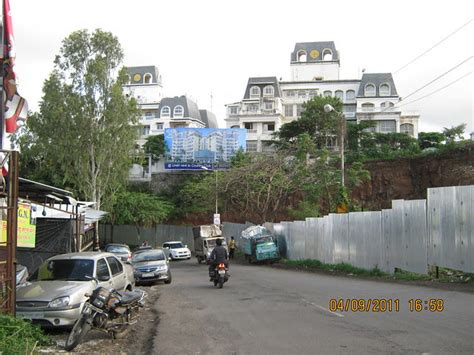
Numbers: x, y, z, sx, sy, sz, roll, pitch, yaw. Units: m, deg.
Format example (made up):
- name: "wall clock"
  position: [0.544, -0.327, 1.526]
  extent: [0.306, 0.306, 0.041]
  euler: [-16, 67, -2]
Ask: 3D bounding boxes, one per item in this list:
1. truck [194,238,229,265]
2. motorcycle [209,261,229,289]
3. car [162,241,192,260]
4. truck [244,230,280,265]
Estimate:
- name: "truck"
  position: [-2.025, 5.248, 42.135]
  extent: [1.746, 2.091, 3.558]
  euler: [-5, -1, -22]
- name: "motorcycle"
  position: [-0.681, 4.098, 23.965]
  extent: [0.704, 1.124, 1.004]
  euler: [-1, 3, -24]
- name: "car"
  position: [-5.335, 6.143, 49.614]
  extent: [1.658, 1.431, 2.920]
  euler: [3, -10, -28]
- name: "truck"
  position: [1.415, 4.559, 39.058]
  extent: [1.708, 2.612, 4.085]
  euler: [-5, -1, -15]
